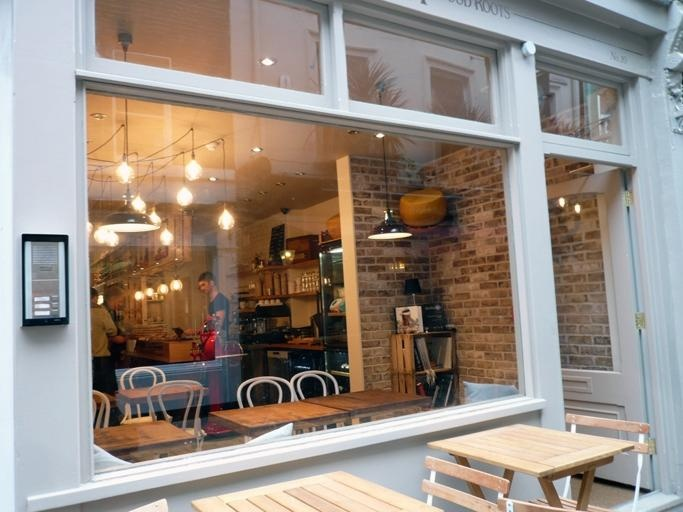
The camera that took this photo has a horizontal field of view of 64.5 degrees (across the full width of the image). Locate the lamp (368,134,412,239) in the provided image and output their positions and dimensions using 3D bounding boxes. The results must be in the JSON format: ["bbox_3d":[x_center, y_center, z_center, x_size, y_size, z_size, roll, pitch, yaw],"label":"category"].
[{"bbox_3d":[0.345,-0.381,3.796,0.276,0.560,0.166,-3,8,-36],"label":"lamp"}]

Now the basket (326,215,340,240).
[{"bbox_3d":[-0.052,-0.196,3.780,0.094,0.173,0.089,2,6,4],"label":"basket"}]

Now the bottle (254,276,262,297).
[{"bbox_3d":[-0.501,0.184,3.301,0.044,0.126,0.074,0,6,-9],"label":"bottle"}]

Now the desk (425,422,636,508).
[{"bbox_3d":[0.976,0.988,2.738,0.669,0.364,0.673,-5,4,-38],"label":"desk"}]
